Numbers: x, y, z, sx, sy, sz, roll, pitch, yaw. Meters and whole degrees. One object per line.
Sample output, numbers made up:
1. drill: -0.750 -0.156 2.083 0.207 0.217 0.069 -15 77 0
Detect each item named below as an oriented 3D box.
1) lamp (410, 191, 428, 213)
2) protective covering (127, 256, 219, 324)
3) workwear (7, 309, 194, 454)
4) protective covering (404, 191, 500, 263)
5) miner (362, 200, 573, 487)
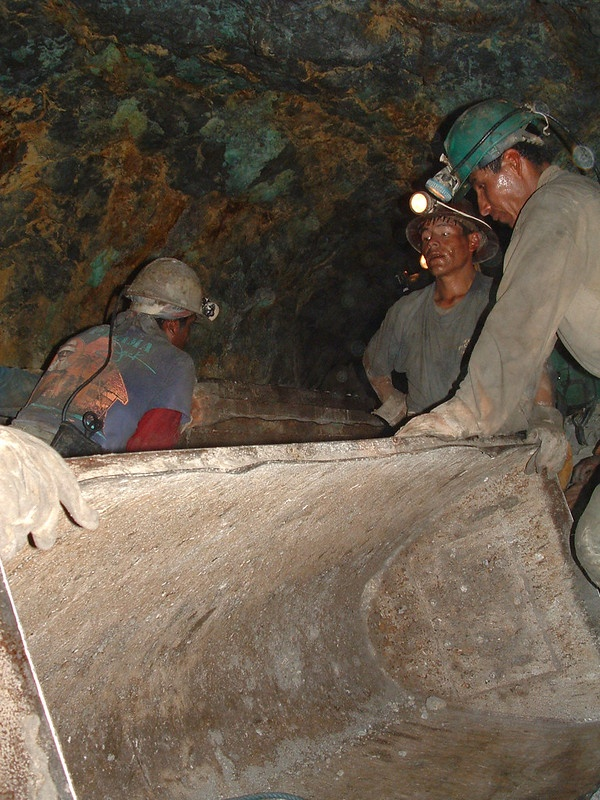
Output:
1. lamp: 0.608 -0.984 3.390 0.126 0.119 0.031 11 16 39
2. protective covering: -0.592 -0.502 3.261 0.306 0.230 0.421 29 21 32
3. workwear: -0.718 -0.022 2.619 0.631 0.516 0.734 9 9 -38
4. protective covering: 0.799 -0.995 3.798 0.402 0.420 0.569 -11 18 -39
5. miner: 0.647 -0.333 3.644 0.931 1.327 0.854 10 11 35
